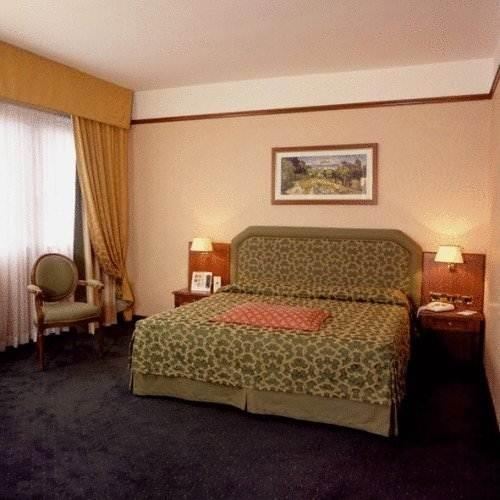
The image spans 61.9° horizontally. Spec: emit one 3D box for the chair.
[{"bbox_3d":[-1.935,0.552,4.427,0.726,1.034,1.199,-1,4,-25],"label":"chair"}]

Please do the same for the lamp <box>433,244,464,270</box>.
[{"bbox_3d":[1.987,0.085,4.123,0.256,0.261,0.347,2,4,26],"label":"lamp"}]

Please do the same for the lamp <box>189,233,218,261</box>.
[{"bbox_3d":[-0.570,-0.045,5.068,0.301,0.229,0.259,0,9,-6],"label":"lamp"}]

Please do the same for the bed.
[{"bbox_3d":[0.389,0.452,3.853,2.197,1.344,2.087,2,3,21],"label":"bed"}]

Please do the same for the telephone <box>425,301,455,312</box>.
[{"bbox_3d":[1.837,0.542,3.999,0.313,0.070,0.184,-1,3,-18],"label":"telephone"}]

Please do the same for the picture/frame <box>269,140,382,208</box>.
[{"bbox_3d":[0.918,-0.862,4.721,0.944,0.468,0.041,1,1,19],"label":"picture/frame"}]
